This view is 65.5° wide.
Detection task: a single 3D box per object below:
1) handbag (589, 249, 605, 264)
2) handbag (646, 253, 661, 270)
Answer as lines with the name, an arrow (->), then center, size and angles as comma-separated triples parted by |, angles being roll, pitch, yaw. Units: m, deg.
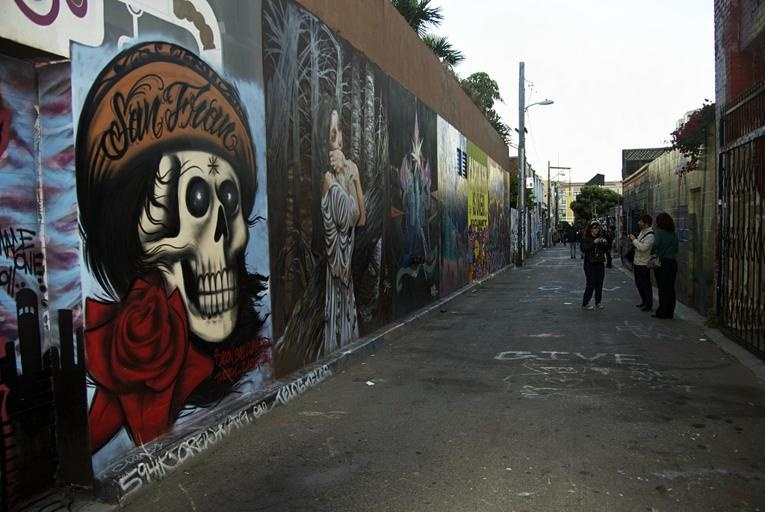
handbag -> 5.015, 0.008, 13.894 | 0.334, 0.247, 0.266 | -8, -2, -1
handbag -> 5.854, 0.107, 12.856 | 0.271, 0.309, 0.180 | 2, 6, 37
